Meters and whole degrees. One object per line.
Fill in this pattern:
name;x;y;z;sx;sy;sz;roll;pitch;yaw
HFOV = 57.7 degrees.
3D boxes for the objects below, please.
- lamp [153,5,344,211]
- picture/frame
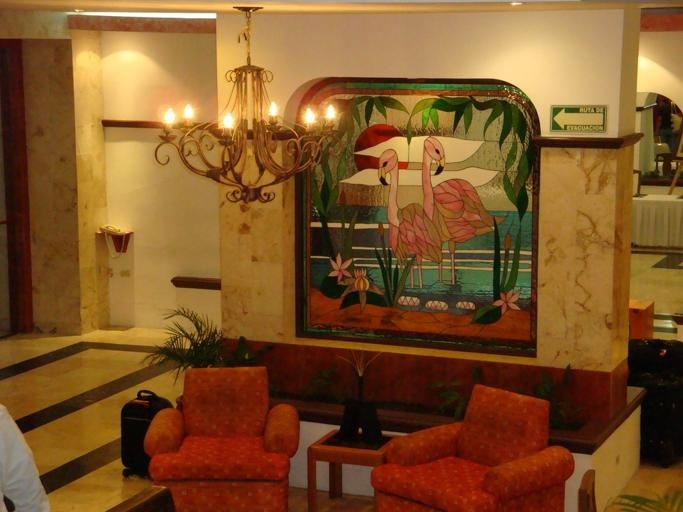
lamp;-0.753;-1.367;5.656;1.136;1.804;4.356;0;5;-6
picture/frame;0.793;-0.420;5.864;2.516;2.749;0.103;3;11;19
